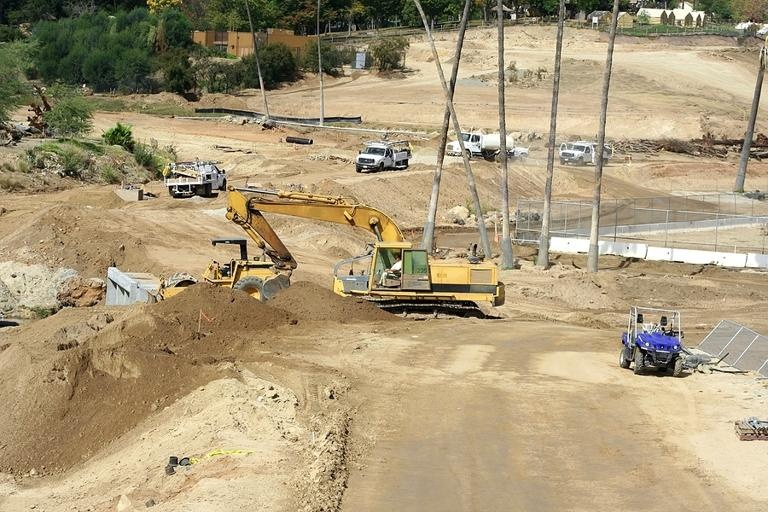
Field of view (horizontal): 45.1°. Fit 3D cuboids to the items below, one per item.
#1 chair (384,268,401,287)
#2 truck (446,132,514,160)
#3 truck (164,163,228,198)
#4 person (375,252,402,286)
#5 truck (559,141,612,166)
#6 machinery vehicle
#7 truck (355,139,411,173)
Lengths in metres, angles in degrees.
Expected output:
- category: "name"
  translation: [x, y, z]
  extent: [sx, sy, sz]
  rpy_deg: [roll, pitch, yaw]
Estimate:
- category: "chair"
  translation: [0.295, 0.814, 33.105]
  extent: [0.598, 0.626, 0.504]
  rpy_deg: [2, 1, 9]
- category: "truck"
  translation: [6.520, -7.444, 62.195]
  extent: [4.554, 2.066, 3.283]
  rpy_deg: [1, 4, 2]
- category: "truck"
  translation: [-10.271, -4.261, 51.971]
  extent: [1.867, 1.468, 3.103]
  rpy_deg: [2, 11, 16]
- category: "person"
  translation: [0.047, 0.636, 33.271]
  extent: [1.147, 1.416, 0.772]
  rpy_deg: [2, 1, 8]
- category: "truck"
  translation: [13.726, -7.292, 65.515]
  extent: [2.375, 1.494, 1.779]
  rpy_deg: [5, 17, 13]
- category: "machinery vehicle"
  translation: [-1.934, -0.169, 36.539]
  extent: [16.165, 6.851, 4.789]
  rpy_deg: [2, 4, 4]
- category: "truck"
  translation: [0.072, -6.323, 58.576]
  extent: [1.949, 1.377, 3.314]
  rpy_deg: [3, 5, 35]
